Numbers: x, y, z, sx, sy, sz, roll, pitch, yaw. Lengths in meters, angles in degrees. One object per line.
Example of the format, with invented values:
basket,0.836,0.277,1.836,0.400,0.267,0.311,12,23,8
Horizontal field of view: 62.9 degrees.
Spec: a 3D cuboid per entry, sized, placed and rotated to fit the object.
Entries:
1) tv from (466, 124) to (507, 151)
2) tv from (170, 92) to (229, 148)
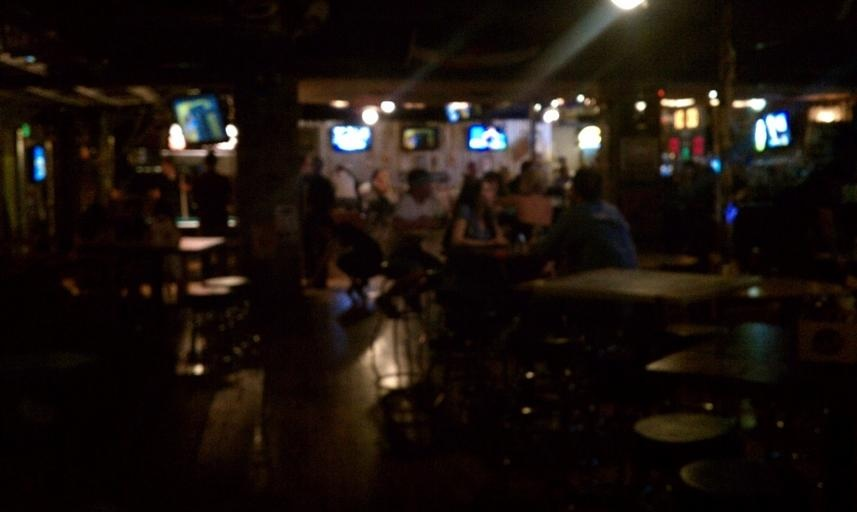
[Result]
tv,1.426,-2.939,17.249,0.712,0.463,0.097,1,0,-1
tv,-3.202,-1.911,9.800,0.714,0.673,0.160,-2,16,11
